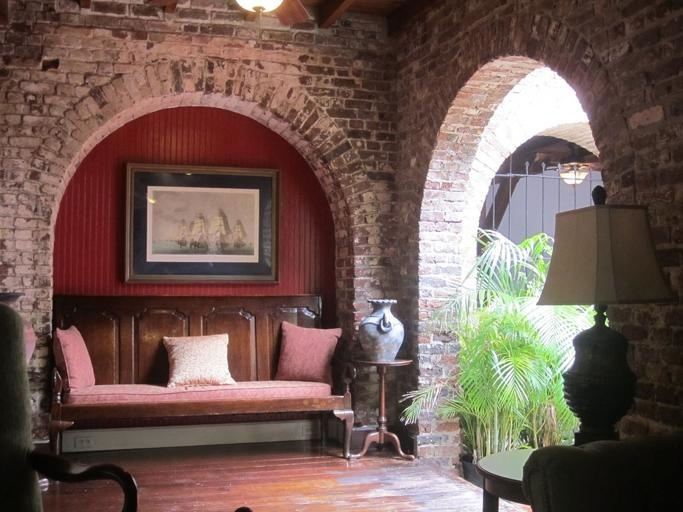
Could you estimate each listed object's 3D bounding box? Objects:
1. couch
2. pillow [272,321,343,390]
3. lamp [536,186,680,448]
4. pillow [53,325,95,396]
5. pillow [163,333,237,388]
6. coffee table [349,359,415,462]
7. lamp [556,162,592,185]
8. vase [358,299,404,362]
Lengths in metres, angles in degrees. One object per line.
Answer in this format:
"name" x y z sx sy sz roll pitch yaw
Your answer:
"couch" -1.252 1.048 5.648 2.541 1.533 0.852 3 -12 -23
"pillow" -0.338 0.936 5.960 0.618 0.523 0.325 3 2 11
"lamp" 1.245 0.275 2.986 0.467 1.253 0.413 2 -8 -23
"pillow" -2.359 0.903 5.477 0.293 0.556 0.622 5 -6 -10
"pillow" -1.285 0.937 5.621 0.472 0.520 0.155 0 -45 -15
"coffee table" 0.385 1.324 5.555 0.675 0.852 0.656 -9 -13 28
"lamp" 2.832 -0.985 7.649 0.315 0.211 0.315 0 0 1
"vase" 0.262 0.677 5.639 0.436 0.509 0.506 2 -8 -8
